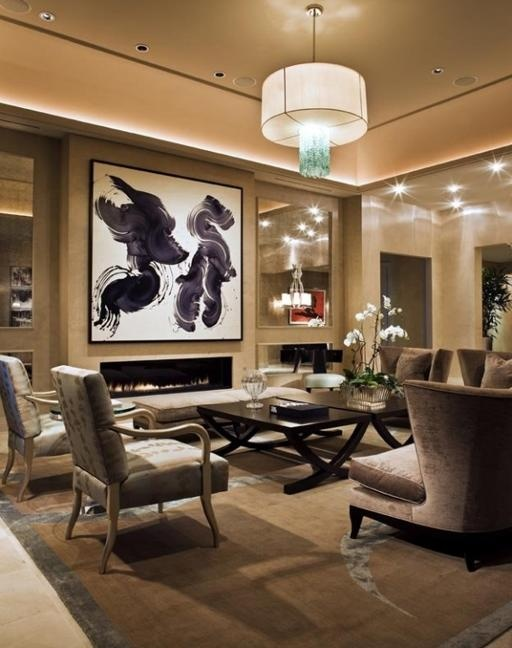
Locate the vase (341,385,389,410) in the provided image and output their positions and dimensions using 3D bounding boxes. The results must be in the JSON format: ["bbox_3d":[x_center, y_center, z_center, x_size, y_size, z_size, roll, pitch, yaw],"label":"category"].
[{"bbox_3d":[0.811,0.553,3.755,0.175,0.108,0.248,3,-5,-38],"label":"vase"}]

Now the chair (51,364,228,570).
[{"bbox_3d":[-0.521,0.602,2.301,0.704,0.729,0.547,3,-4,-39],"label":"chair"}]

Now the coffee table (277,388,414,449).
[{"bbox_3d":[0.823,0.861,4.073,0.762,0.255,1.134,0,-15,41],"label":"coffee table"}]

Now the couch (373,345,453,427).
[{"bbox_3d":[1.505,0.620,5.010,0.645,0.725,0.670,4,-5,33],"label":"couch"}]

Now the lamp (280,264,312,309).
[{"bbox_3d":[0.561,-0.509,6.998,0.462,0.580,0.457,4,5,45],"label":"lamp"}]

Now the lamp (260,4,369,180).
[{"bbox_3d":[0.446,-1.529,3.742,0.794,0.789,0.692,-1,-3,2],"label":"lamp"}]

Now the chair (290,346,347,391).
[{"bbox_3d":[0.837,0.665,6.362,0.551,0.572,0.570,-13,10,-38],"label":"chair"}]

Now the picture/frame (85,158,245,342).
[{"bbox_3d":[-1.036,-0.802,5.388,2.319,2.152,0.037,1,0,-37],"label":"picture/frame"}]

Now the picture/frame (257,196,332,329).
[{"bbox_3d":[0.534,-0.826,6.910,1.421,1.750,0.181,2,-4,-42],"label":"picture/frame"}]

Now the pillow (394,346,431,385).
[{"bbox_3d":[1.483,0.405,4.786,0.131,0.295,0.307,30,-23,-37],"label":"pillow"}]

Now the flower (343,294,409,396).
[{"bbox_3d":[0.884,0.220,3.890,0.553,0.698,0.513,-1,-2,24],"label":"flower"}]
